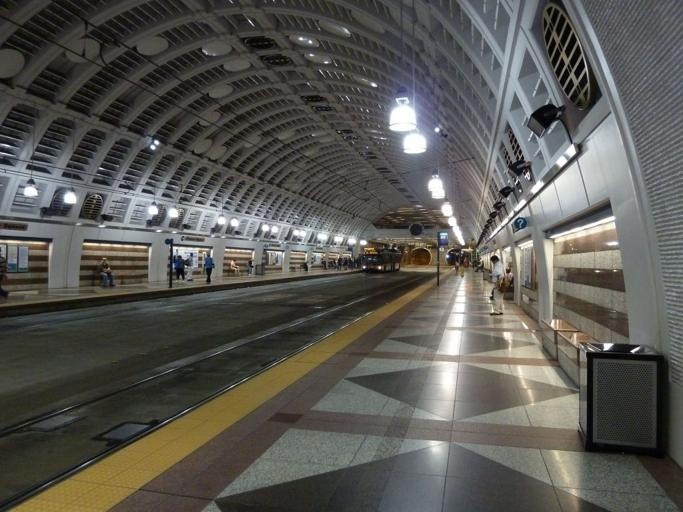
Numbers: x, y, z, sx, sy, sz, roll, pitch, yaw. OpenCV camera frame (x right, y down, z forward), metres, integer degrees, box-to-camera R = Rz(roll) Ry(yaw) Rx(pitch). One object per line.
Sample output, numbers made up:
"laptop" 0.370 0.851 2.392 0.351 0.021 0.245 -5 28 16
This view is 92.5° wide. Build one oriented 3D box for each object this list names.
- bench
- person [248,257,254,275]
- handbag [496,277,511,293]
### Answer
"bench" 4.245 1.837 6.091 0.425 0.457 1.496 -2 7 10
"person" -11.277 1.422 39.829 0.715 1.716 0.806 -1 -3 -16
"handbag" 6.632 1.203 13.510 0.460 0.678 1.001 -2 -2 23
